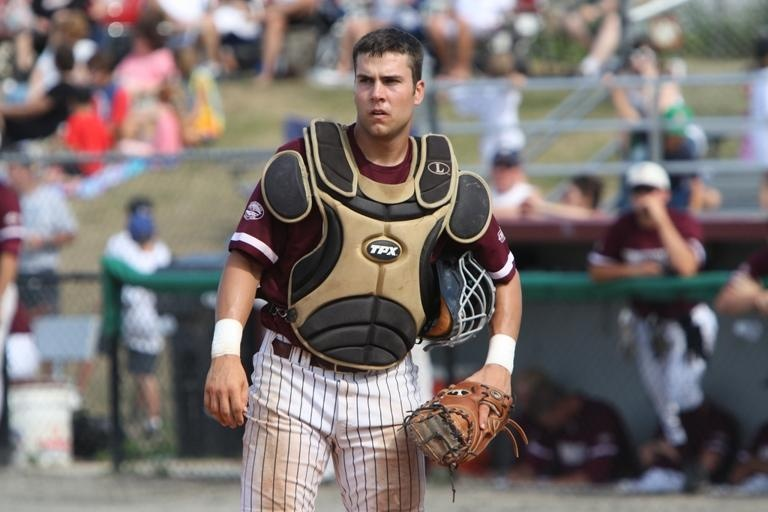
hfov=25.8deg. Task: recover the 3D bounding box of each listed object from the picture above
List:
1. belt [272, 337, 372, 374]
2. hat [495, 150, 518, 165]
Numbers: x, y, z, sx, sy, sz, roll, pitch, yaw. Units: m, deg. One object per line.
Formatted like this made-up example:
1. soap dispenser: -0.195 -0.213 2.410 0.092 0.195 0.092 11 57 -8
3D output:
1. belt: -0.440 0.684 11.808 0.648 0.265 0.060 -2 -9 -3
2. hat: 1.150 -0.904 15.379 0.138 0.092 0.144 2 -5 3
